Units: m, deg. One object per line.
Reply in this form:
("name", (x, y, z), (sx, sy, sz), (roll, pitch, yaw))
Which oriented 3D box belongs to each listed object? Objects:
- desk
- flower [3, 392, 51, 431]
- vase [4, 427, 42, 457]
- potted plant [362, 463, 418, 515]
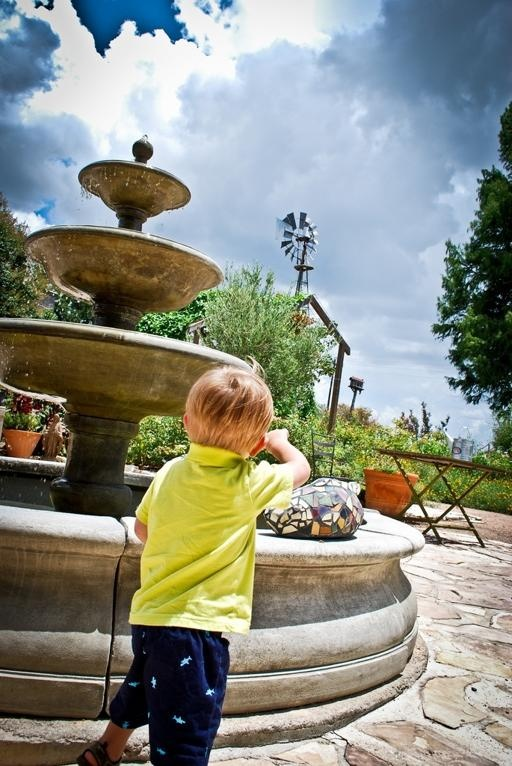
("desk", (3.547, 1.986, 10.064), (1.292, 0.951, 9.296), (11, -4, 24))
("flower", (-3.250, 0.406, 7.769), (0.699, 0.388, 0.683), (6, -4, -11))
("vase", (-3.240, 0.816, 7.705), (0.441, 0.293, 0.423), (1, -13, -2))
("potted plant", (1.988, 1.573, 8.149), (0.803, 0.576, 0.785), (7, -12, -26))
